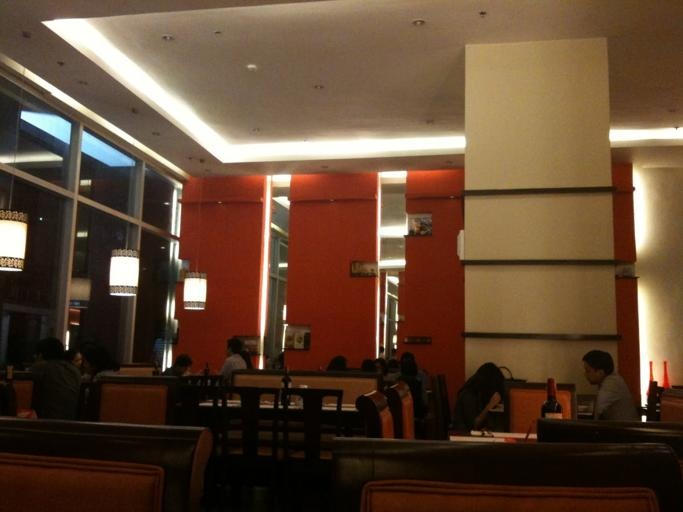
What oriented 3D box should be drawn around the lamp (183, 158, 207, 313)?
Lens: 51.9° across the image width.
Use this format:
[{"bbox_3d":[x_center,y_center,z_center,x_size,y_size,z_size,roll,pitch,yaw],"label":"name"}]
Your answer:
[{"bbox_3d":[-2.283,-0.194,11.303,0.339,2.150,1.006,2,-11,-10],"label":"lamp"}]
